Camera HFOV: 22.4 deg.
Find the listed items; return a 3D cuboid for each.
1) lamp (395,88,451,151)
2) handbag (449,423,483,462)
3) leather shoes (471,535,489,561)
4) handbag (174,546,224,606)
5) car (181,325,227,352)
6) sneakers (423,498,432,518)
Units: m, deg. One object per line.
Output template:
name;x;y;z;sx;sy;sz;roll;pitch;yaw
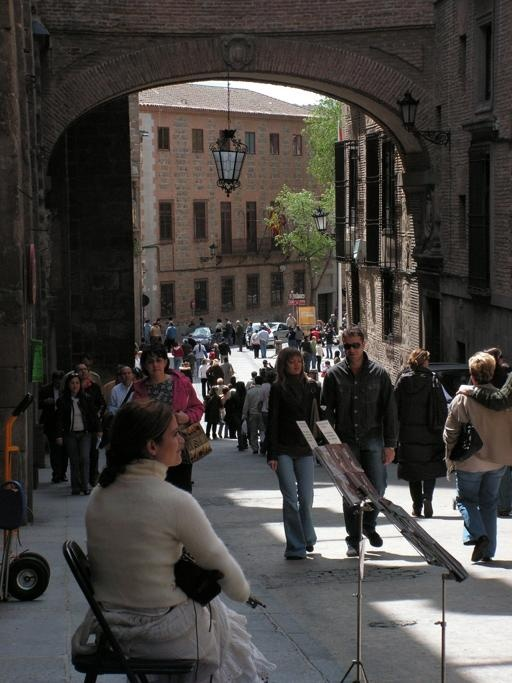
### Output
lamp;3.162;-4.195;24.256;0.937;0.875;2.161;1;1;11
handbag;1.567;0.747;9.568;0.088;0.204;0.190;11;-31;-13
leather shoes;1.624;1.496;9.310;0.073;0.229;0.090;7;16;-15
handbag;-0.221;0.878;4.851;0.180;0.180;0.132;32;-4;25
car;-2.211;-0.170;54.535;0.966;0.813;1.636;0;-4;13
sneakers;1.597;1.533;12.012;0.055;0.176;0.068;-4;-2;12
